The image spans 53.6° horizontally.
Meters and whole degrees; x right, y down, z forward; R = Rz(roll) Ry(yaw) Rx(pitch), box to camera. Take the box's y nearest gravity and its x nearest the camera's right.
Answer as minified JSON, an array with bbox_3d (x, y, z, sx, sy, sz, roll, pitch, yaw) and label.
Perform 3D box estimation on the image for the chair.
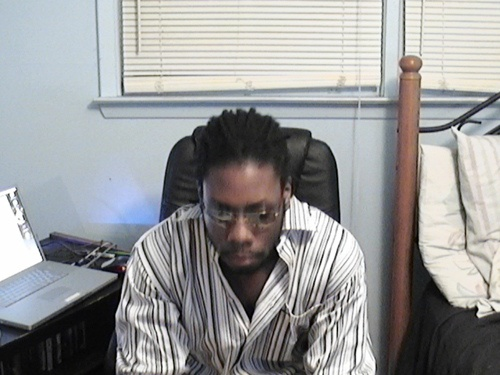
[{"bbox_3d":[-0.084,0.291,2.124,0.618,1.060,0.843,0,-14,3],"label":"chair"}]

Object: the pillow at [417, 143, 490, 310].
[{"bbox_3d":[0.751,0.163,1.977,0.116,0.483,0.406,-12,-15,41],"label":"pillow"}]

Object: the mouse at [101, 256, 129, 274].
[{"bbox_3d":[-0.515,0.292,1.938,0.058,0.035,0.090,1,3,8],"label":"mouse"}]
